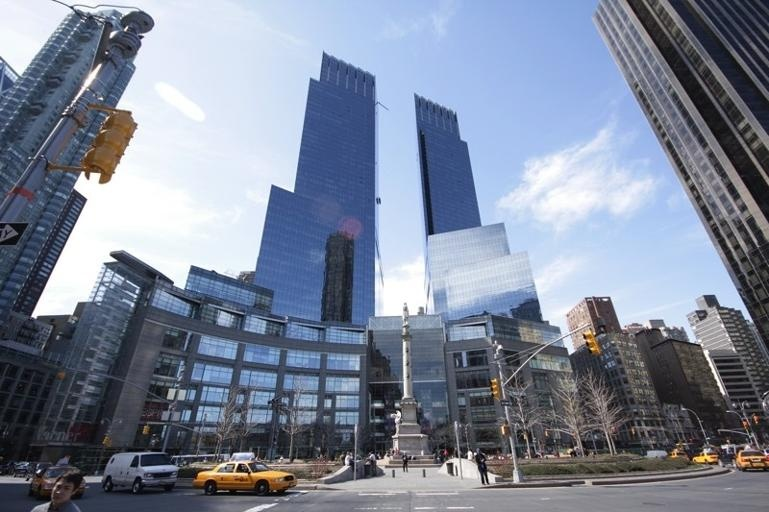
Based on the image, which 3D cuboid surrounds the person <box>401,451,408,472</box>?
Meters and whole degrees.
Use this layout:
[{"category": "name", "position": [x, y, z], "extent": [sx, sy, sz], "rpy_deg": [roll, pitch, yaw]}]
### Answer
[{"category": "person", "position": [2.685, 26.849, 47.655], "extent": [0.481, 1.850, 1.056], "rpy_deg": [-11, -30, 16]}]

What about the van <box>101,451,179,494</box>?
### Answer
[{"category": "van", "position": [-22.189, 19.459, 33.214], "extent": [5.863, 3.135, 2.240], "rpy_deg": [-9, -30, 12]}]

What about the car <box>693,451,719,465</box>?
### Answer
[{"category": "car", "position": [49.842, 30.774, 56.441], "extent": [2.571, 1.575, 3.456], "rpy_deg": [-13, -30, 19]}]
